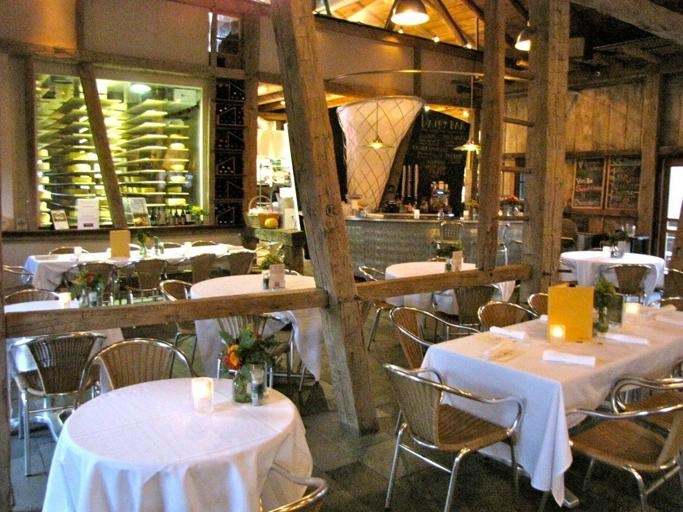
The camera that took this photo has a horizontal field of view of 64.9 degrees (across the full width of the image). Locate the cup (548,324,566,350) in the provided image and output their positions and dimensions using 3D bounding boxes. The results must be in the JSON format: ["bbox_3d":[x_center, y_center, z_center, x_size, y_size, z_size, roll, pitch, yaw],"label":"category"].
[{"bbox_3d":[1.404,0.518,3.501,0.107,0.113,0.194,-1,6,22],"label":"cup"}]

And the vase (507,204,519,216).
[{"bbox_3d":[2.628,-0.704,8.202,0.103,0.138,0.434,0,7,28],"label":"vase"}]

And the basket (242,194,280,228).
[{"bbox_3d":[-1.366,-0.725,9.310,0.738,0.628,0.711,-4,11,-18],"label":"basket"}]

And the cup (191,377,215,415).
[{"bbox_3d":[-0.715,0.699,2.754,0.107,0.164,0.158,-5,7,-17],"label":"cup"}]

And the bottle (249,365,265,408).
[{"bbox_3d":[-0.436,0.664,2.789,0.073,0.216,0.051,-5,7,-11],"label":"bottle"}]

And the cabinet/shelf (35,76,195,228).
[{"bbox_3d":[-3.774,-1.713,8.715,0.998,2.578,2.723,0,-1,43],"label":"cabinet/shelf"}]
